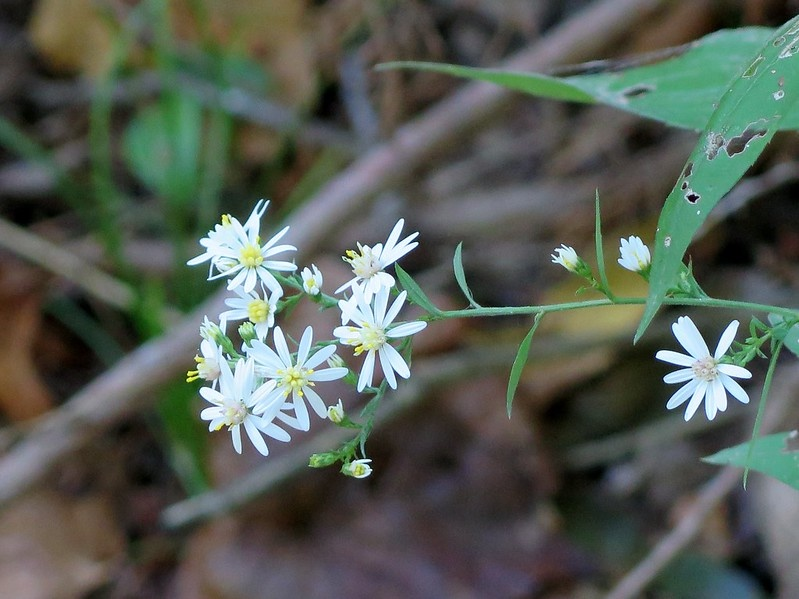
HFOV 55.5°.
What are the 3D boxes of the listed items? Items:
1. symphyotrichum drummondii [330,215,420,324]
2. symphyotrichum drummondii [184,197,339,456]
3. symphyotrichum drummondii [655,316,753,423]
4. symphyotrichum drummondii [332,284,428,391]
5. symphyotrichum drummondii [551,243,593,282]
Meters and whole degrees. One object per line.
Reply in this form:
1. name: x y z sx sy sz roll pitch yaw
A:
1. symphyotrichum drummondii: -0.059 -0.046 1.542 0.189 0.075 0.208 -34 45 42
2. symphyotrichum drummondii: -0.291 0.063 1.639 0.298 0.141 0.574 -15 82 3
3. symphyotrichum drummondii: 0.608 0.131 1.489 0.177 0.048 0.212 -11 35 -1
4. symphyotrichum drummondii: -0.041 0.066 1.498 0.187 0.173 0.075 -12 52 49
5. symphyotrichum drummondii: 0.458 -0.097 2.019 0.065 0.052 0.122 -37 67 -9
